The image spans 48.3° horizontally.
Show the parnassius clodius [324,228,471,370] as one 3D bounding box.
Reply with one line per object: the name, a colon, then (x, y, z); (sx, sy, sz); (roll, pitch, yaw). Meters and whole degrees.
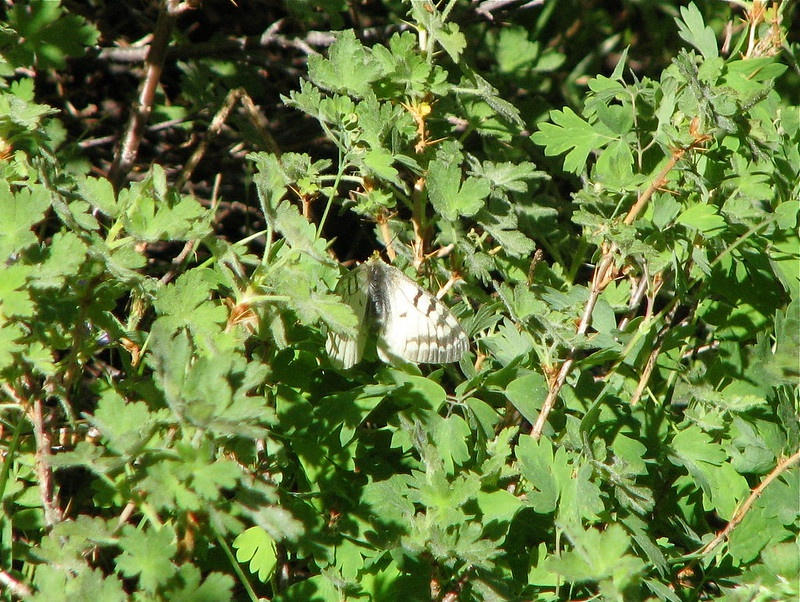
parnassius clodius: (-0.033, 0.017, 2.103); (0.362, 0.301, 0.089); (7, 12, -7)
